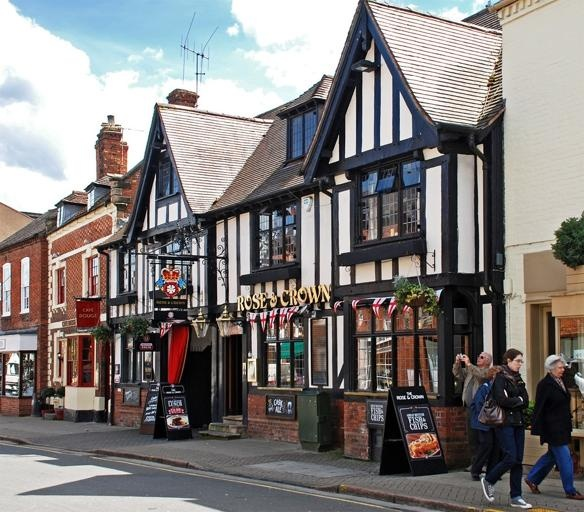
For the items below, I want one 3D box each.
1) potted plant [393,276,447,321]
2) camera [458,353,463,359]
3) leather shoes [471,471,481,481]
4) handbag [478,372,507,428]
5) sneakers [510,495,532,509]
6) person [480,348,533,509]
[{"bbox_3d":[2.410,0.755,16.869,0.905,0.794,0.874,-5,-8,21],"label":"potted plant"},{"bbox_3d":[3.007,1.777,15.916,0.053,0.075,0.124,8,8,9],"label":"camera"},{"bbox_3d":[3.072,3.670,14.904,0.147,0.190,0.194,2,-6,-34],"label":"leather shoes"},{"bbox_3d":[3.026,2.179,13.417,0.367,0.995,0.439,-11,-30,27],"label":"handbag"},{"bbox_3d":[3.361,3.593,13.077,0.281,0.146,0.139,-1,0,35],"label":"sneakers"},{"bbox_3d":[3.183,2.543,13.282,0.721,2.294,0.439,-1,-7,2],"label":"person"}]
